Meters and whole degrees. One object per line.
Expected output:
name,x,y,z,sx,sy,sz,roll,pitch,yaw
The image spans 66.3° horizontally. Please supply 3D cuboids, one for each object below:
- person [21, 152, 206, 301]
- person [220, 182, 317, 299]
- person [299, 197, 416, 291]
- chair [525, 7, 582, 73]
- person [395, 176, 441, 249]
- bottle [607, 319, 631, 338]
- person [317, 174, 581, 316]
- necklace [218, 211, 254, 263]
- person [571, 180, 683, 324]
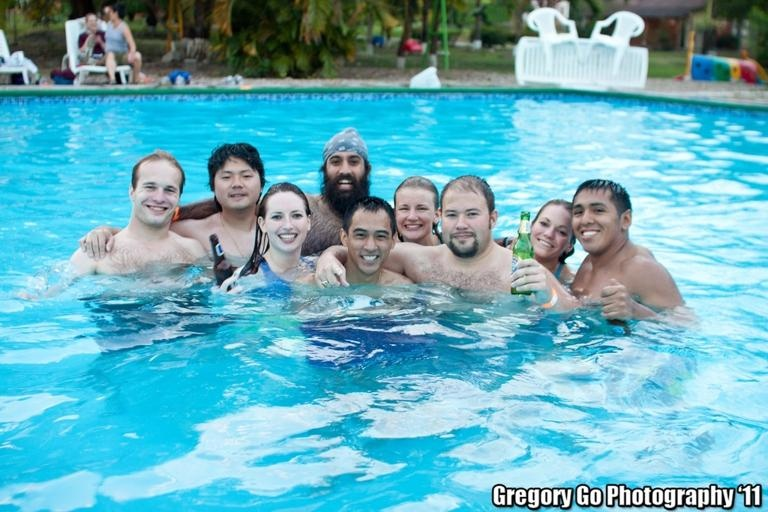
person,-2.038,-0.182,4.945,2.172,1.202,0.636,-1,6,-41
person,-0.970,-0.113,4.739,1.056,0.765,0.511,-5,17,-33
person,-0.161,-0.044,4.643,1.009,0.694,0.478,-1,2,-13
chair,4.257,-5.506,14.675,1.063,1.648,1.154,2,14,26
person,0.265,-0.358,5.362,0.572,0.684,0.510,1,8,2
bottle,1.700,0.501,4.217,0.069,0.091,0.180,-10,13,-26
person,0.505,-0.058,4.556,2.032,0.920,1.137,5,9,31
necklace,-1.337,-0.168,5.189,0.377,0.425,0.144,2,-3,-6
person,1.776,-0.074,4.584,0.861,1.048,1.171,-4,12,-7
